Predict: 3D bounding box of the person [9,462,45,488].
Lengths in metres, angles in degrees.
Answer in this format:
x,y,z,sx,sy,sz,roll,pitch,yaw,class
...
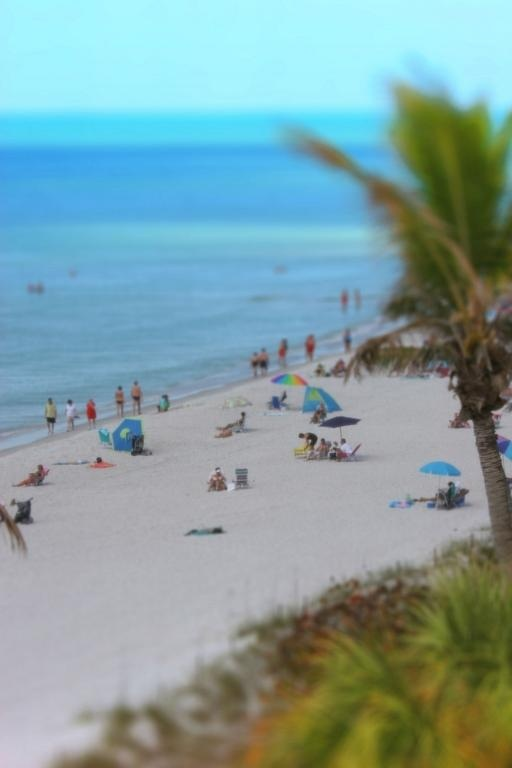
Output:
x,y,z,sx,sy,sz,roll,pitch,yaw,class
-6.001,2.425,26.774,0.782,0.530,1.962,-8,4,-14,person

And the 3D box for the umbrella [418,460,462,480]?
x,y,z,sx,sy,sz,roll,pitch,yaw,class
3.847,1.753,20.832,0.775,0.309,0.809,5,-4,-12,umbrella

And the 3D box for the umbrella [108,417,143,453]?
x,y,z,sx,sy,sz,roll,pitch,yaw,class
-3.858,1.432,29.963,1.075,1.242,0.852,3,1,14,umbrella

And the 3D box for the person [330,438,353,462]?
x,y,z,sx,sy,sz,roll,pitch,yaw,class
2.214,1.652,26.182,0.406,0.701,0.755,3,7,-3,person

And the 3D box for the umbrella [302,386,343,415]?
x,y,z,sx,sy,sz,roll,pitch,yaw,class
1.878,0.381,29.798,0.851,0.482,0.920,0,10,43,umbrella
